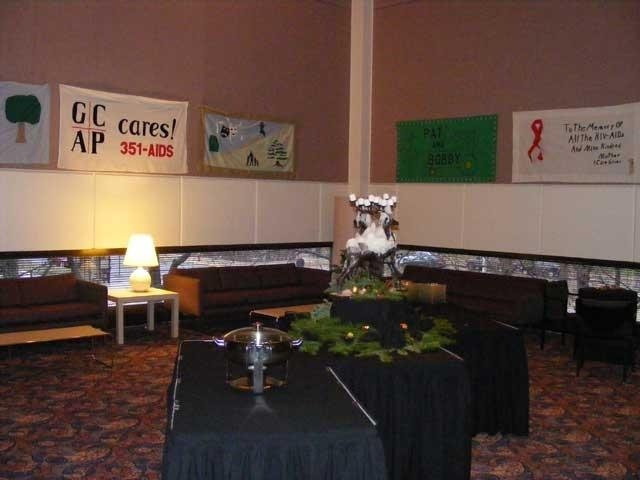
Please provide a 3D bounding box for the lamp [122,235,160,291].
[{"bbox_3d":[-2.811,0.339,7.584,0.467,0.871,0.708,-1,4,-22],"label":"lamp"}]

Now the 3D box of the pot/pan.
[{"bbox_3d":[-0.350,0.631,2.720,0.380,0.316,0.399,1,4,-4],"label":"pot/pan"}]
